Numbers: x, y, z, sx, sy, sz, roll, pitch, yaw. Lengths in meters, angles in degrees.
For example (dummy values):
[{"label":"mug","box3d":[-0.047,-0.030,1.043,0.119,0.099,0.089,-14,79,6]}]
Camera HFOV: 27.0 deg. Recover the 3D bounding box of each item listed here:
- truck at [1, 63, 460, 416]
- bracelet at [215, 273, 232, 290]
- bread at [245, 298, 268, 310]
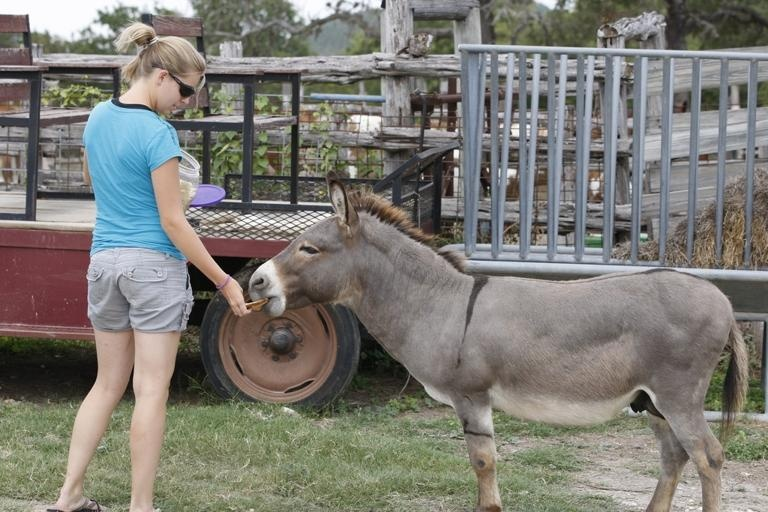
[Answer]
[{"label":"truck","box3d":[-2.316,0.128,18.915,5.334,3.392,2.829,0,5,10]},{"label":"bracelet","box3d":[-1.558,0.250,15.361,0.137,0.052,0.137,-41,-5,25]},{"label":"bread","box3d":[-1.255,0.470,15.486,0.128,0.050,0.141,-6,9,-28]}]
